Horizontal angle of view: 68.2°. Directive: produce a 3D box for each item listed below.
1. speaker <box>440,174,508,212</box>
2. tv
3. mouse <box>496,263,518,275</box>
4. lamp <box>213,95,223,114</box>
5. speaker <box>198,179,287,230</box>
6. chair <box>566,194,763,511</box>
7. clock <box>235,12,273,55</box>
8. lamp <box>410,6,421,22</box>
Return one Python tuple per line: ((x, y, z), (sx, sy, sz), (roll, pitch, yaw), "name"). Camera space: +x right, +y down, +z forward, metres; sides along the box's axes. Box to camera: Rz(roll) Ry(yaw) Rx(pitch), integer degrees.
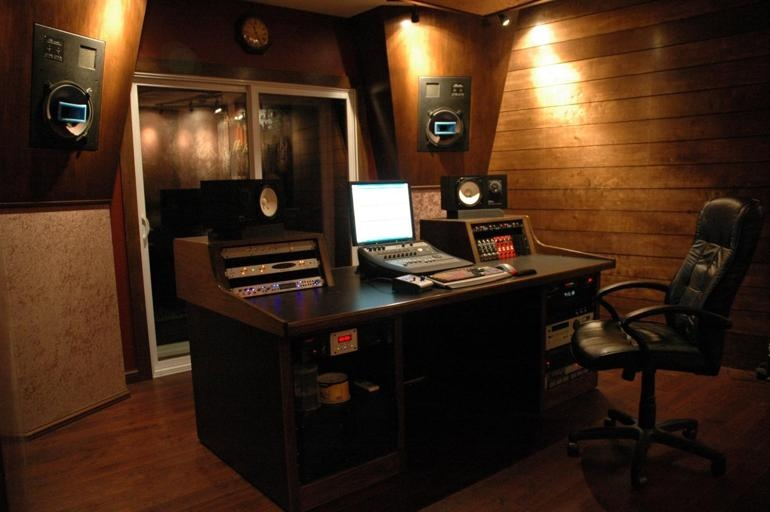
((0.743, -0.527, 4.746), (0.619, 0.270, 0.222), (-7, 9, -30), "speaker")
((-0.016, -0.330, 4.244), (0.603, 0.469, 0.051), (-8, 4, -41), "tv")
((0.870, 0.096, 4.044), (0.076, 0.035, 0.114), (-9, 13, -30), "mouse")
((-1.602, -1.450, 5.483), (0.086, 0.149, 0.067), (-8, 13, -14), "lamp")
((-0.882, -0.324, 3.816), (0.582, 0.352, 0.301), (1, 2, 10), "speaker")
((1.813, 0.518, 3.698), (1.203, 1.697, 0.690), (-8, 13, -15), "chair")
((-1.207, -2.074, 5.289), (0.036, 0.344, 0.380), (15, 19, 39), "clock")
((0.298, -2.322, 5.492), (0.091, 0.145, 0.175), (-4, 12, 3), "lamp")
